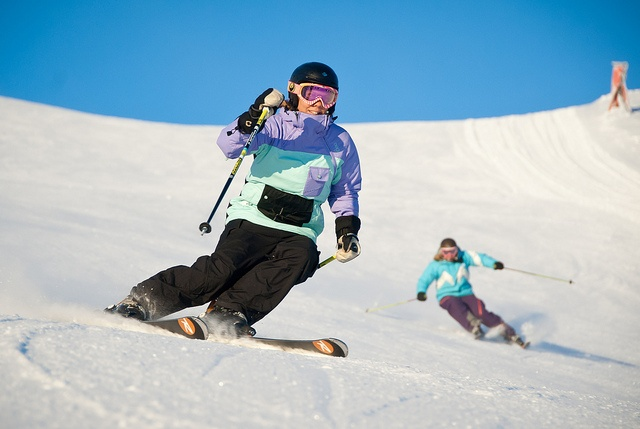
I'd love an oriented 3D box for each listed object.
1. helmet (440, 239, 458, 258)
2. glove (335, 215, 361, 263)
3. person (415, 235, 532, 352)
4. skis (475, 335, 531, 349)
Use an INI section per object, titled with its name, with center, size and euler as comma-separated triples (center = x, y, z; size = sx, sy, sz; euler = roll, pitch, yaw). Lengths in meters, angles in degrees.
[helmet]
center = 2.283, 0.618, 12.503
size = 0.267, 0.339, 0.339
euler = -2, -5, 5
[glove]
center = 0.387, 0.343, 9.546
size = 0.422, 0.567, 0.231
euler = -11, -31, 37
[person]
center = 2.570, 1.432, 12.204
size = 1.975, 1.527, 0.593
euler = 40, -24, 28
[skis]
center = 3.066, 2.175, 11.862
size = 0.975, 0.169, 0.166
euler = -1, 7, -5
